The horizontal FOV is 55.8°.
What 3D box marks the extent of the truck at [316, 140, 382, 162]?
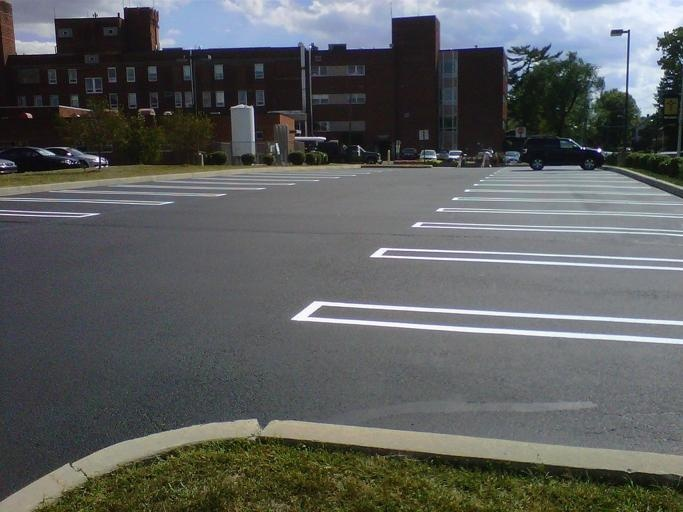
[{"bbox_3d":[0.616,-9.633,59.285,5.351,1.892,1.999,1,10,5],"label":"truck"}]
